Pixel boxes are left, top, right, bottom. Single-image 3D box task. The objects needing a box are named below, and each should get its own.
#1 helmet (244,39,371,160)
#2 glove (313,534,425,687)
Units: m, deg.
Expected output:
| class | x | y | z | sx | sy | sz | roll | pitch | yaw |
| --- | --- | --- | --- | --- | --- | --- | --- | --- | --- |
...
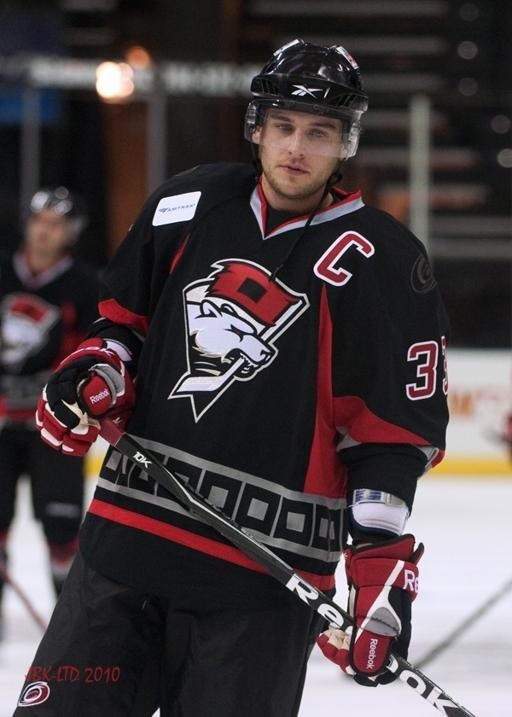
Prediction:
| class | x | y | z | sx | sy | sz | roll | pitch | yaw |
| --- | --- | --- | --- | --- | --- | --- | --- | --- | --- |
| helmet | 0.087 | -0.444 | 1.532 | 0.215 | 0.201 | 0.238 | 8 | 12 | -6 |
| glove | 0.187 | 0.378 | 1.375 | 0.190 | 0.226 | 0.119 | -7 | 4 | -13 |
